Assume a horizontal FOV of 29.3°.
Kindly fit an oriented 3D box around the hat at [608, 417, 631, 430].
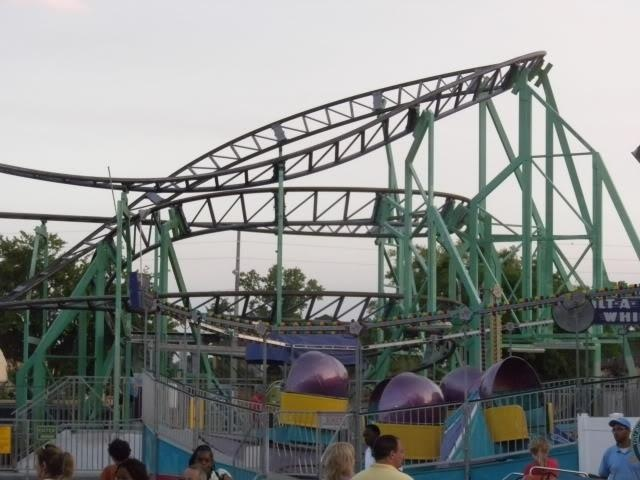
[{"bbox_3d":[6.496,3.880,26.299,0.308,0.230,0.509,-7,-20,41],"label":"hat"}]
